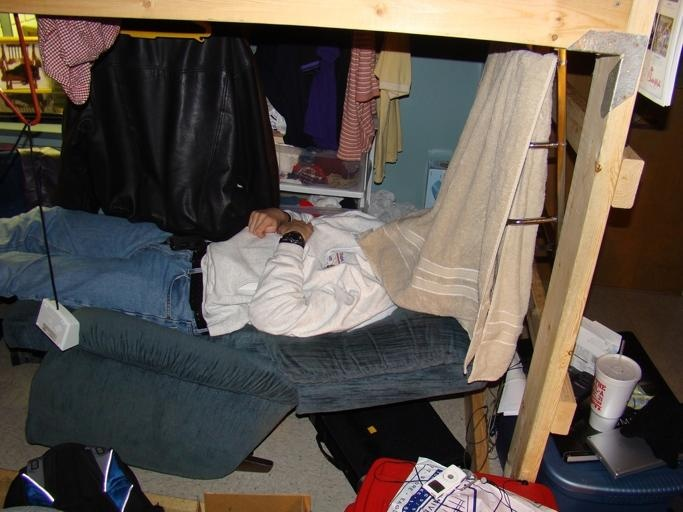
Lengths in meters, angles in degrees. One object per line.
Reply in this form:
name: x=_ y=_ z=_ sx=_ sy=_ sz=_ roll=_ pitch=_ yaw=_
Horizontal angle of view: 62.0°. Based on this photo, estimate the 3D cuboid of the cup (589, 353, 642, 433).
cup: x=0.945 y=0.483 z=1.998 sx=0.138 sy=0.242 sz=0.160 roll=25 pitch=32 yaw=38

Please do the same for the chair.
chair: x=-0.351 y=0.399 z=2.266 sx=1.779 sy=0.530 sz=0.978 roll=-1 pitch=47 yaw=-10

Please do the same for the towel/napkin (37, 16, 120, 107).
towel/napkin: x=-0.887 y=-0.676 z=1.919 sx=0.259 sy=0.294 sz=0.095 roll=-15 pitch=38 yaw=-8

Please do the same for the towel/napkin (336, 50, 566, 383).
towel/napkin: x=0.381 y=-0.121 z=1.899 sx=0.291 sy=1.097 sz=0.591 roll=-8 pitch=27 yaw=-24

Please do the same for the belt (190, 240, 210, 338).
belt: x=-0.564 y=0.121 z=2.223 sx=0.063 sy=0.263 sz=0.194 roll=-5 pitch=-10 yaw=-14

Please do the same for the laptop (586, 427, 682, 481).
laptop: x=0.962 y=0.663 z=1.922 sx=0.211 sy=0.085 sz=0.136 roll=-3 pitch=25 yaw=-14
